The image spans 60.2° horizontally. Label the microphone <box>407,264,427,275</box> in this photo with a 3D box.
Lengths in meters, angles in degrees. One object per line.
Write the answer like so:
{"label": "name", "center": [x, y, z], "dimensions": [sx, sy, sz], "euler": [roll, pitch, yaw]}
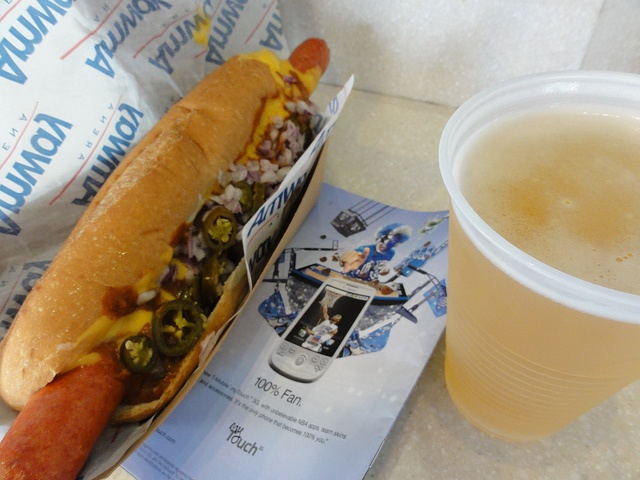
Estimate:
{"label": "microphone", "center": [0.142, 0.043, 0.804], "dimensions": [0.034, 0.003, 0.009], "euler": [30, 83, 20]}
